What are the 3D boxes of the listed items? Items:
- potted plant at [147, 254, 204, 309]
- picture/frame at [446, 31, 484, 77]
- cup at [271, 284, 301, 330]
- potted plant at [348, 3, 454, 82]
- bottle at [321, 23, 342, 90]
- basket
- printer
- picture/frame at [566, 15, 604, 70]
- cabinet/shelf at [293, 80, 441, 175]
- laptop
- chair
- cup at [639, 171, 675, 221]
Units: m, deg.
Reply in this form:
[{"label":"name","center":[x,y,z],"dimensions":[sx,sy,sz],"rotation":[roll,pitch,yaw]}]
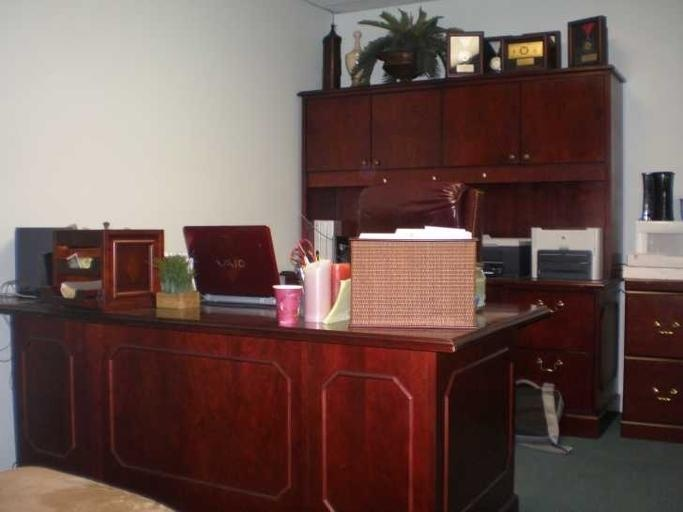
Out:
[{"label":"potted plant","center":[-0.756,0.102,2.852],"dimensions":[0.255,0.365,0.222],"rotation":[-1,1,6]},{"label":"picture/frame","center":[0.967,-1.575,4.580],"dimensions":[0.344,0.435,0.041],"rotation":[0,1,8]},{"label":"cup","center":[-0.217,0.195,2.336],"dimensions":[0.129,0.144,0.134],"rotation":[0,-3,0]},{"label":"potted plant","center":[0.544,-1.729,5.112],"dimensions":[0.663,0.533,0.700],"rotation":[1,2,8]},{"label":"bottle","center":[-0.100,-1.783,5.258],"dimensions":[0.161,0.656,0.413],"rotation":[-1,4,6]},{"label":"basket","center":[0.264,0.106,2.167],"dimensions":[0.506,0.395,0.303],"rotation":[0,2,6]},{"label":"printer","center":[1.620,-0.015,4.246],"dimensions":[0.561,0.499,0.334],"rotation":[0,-2,35]},{"label":"picture/frame","center":[1.786,-1.549,4.275],"dimensions":[0.254,0.326,0.079],"rotation":[-1,4,15]},{"label":"cabinet/shelf","center":[0.191,-0.852,5.253],"dimensions":[1.053,1.074,0.656],"rotation":[0,2,25]},{"label":"laptop","center":[-0.483,0.009,2.763],"dimensions":[0.473,0.362,0.360],"rotation":[4,12,30]},{"label":"chair","center":[0.339,-0.226,2.693],"dimensions":[0.405,0.444,0.312],"rotation":[4,6,26]},{"label":"cup","center":[2.274,-0.431,4.233],"dimensions":[0.207,0.352,0.177],"rotation":[0,4,22]}]
